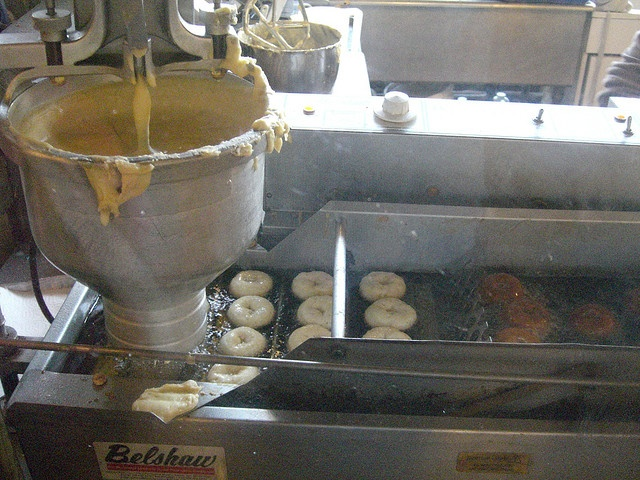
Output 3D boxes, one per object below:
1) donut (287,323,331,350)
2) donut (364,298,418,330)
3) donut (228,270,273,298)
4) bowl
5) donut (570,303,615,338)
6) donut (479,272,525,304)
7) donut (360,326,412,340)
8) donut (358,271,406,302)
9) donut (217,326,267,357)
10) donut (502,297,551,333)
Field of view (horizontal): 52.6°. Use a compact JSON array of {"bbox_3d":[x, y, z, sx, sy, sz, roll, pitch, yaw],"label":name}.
[{"bbox_3d":[-0.031,0.290,2.091,0.118,0.041,0.114,11,32,19],"label":"donut"},{"bbox_3d":[0.248,0.267,2.253,0.150,0.052,0.154,-11,-3,-27],"label":"donut"},{"bbox_3d":[-0.242,0.160,2.296,0.123,0.063,0.141,15,23,36],"label":"donut"},{"bbox_3d":[-0.112,-0.682,2.676,0.428,0.277,0.374,-3,30,-3],"label":"bowl"},{"bbox_3d":[0.916,0.273,2.181,0.147,0.063,0.134,-16,25,-40],"label":"donut"},{"bbox_3d":[0.644,0.175,2.296,0.154,0.081,0.115,6,20,16],"label":"donut"},{"bbox_3d":[0.225,0.306,2.126,0.069,0.020,0.066,-7,15,-29],"label":"donut"},{"bbox_3d":[0.225,0.170,2.319,0.119,0.041,0.111,-2,36,3],"label":"donut"},{"bbox_3d":[-0.248,0.332,2.081,0.130,0.065,0.145,8,20,21],"label":"donut"},{"bbox_3d":[0.698,0.256,2.194,0.158,0.074,0.118,6,20,15],"label":"donut"}]
